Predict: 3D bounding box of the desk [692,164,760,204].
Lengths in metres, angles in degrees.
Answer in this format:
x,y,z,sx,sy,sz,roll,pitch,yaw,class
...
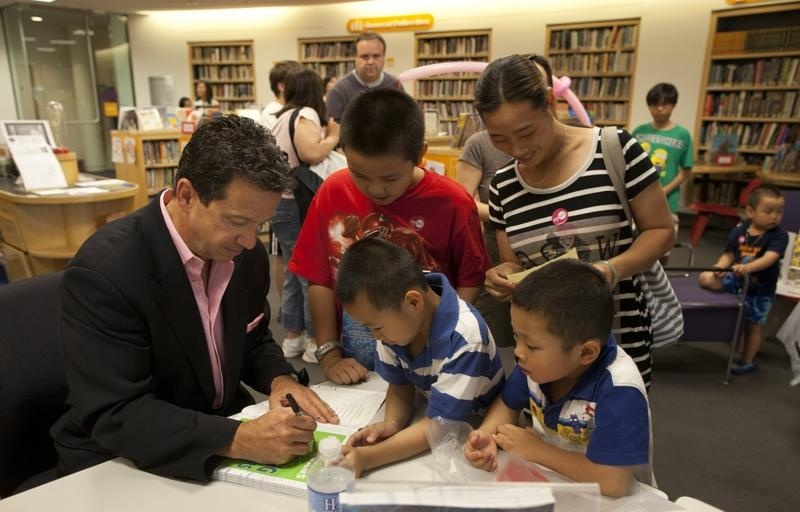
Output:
x,y,z,sx,sy,sz,roll,pitch,yaw,class
4.787,-1.082,8.183,0.834,0.610,0.798,-3,19,0,desk

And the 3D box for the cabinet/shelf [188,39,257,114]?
x,y,z,sx,sy,sz,roll,pitch,yaw,class
-3.571,-3.705,11.446,1.592,1.315,0.407,10,21,27,cabinet/shelf

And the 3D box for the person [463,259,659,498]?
x,y,z,sx,sy,sz,roll,pitch,yaw,class
0.437,0.371,2.605,0.910,1.184,0.828,-2,13,-6,person

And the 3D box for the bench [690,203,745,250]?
x,y,z,sx,sy,sz,roll,pitch,yaw,class
3.931,-0.365,6.954,0.689,0.555,0.610,3,10,6,bench

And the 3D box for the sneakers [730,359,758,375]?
x,y,z,sx,sy,sz,roll,pitch,yaw,class
2.745,0.902,4.502,0.230,0.106,0.087,-6,22,5,sneakers

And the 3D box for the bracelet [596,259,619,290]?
x,y,z,sx,sy,sz,roll,pitch,yaw,class
0.915,0.071,2.452,0.066,0.128,0.097,-32,13,-29,bracelet

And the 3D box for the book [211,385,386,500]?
x,y,z,sx,sy,sz,roll,pitch,yaw,class
-0.431,0.757,2.260,0.377,0.068,0.454,7,21,19,book

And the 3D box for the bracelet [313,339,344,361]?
x,y,z,sx,sy,sz,roll,pitch,yaw,class
-0.348,0.458,2.742,0.100,0.040,0.101,-29,0,-17,bracelet
